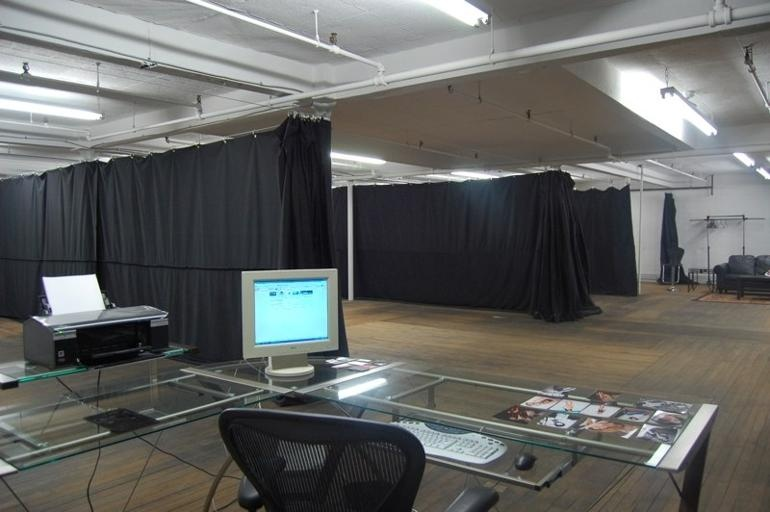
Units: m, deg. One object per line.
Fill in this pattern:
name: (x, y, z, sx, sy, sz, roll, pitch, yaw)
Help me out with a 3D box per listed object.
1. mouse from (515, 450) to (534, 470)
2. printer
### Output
mouse: (0.798, 1.148, 2.819, 0.122, 0.079, 0.087, -1, -9, 0)
printer: (-2.178, 0.606, 3.831, 0.662, 0.305, 0.880, 7, 5, 34)
